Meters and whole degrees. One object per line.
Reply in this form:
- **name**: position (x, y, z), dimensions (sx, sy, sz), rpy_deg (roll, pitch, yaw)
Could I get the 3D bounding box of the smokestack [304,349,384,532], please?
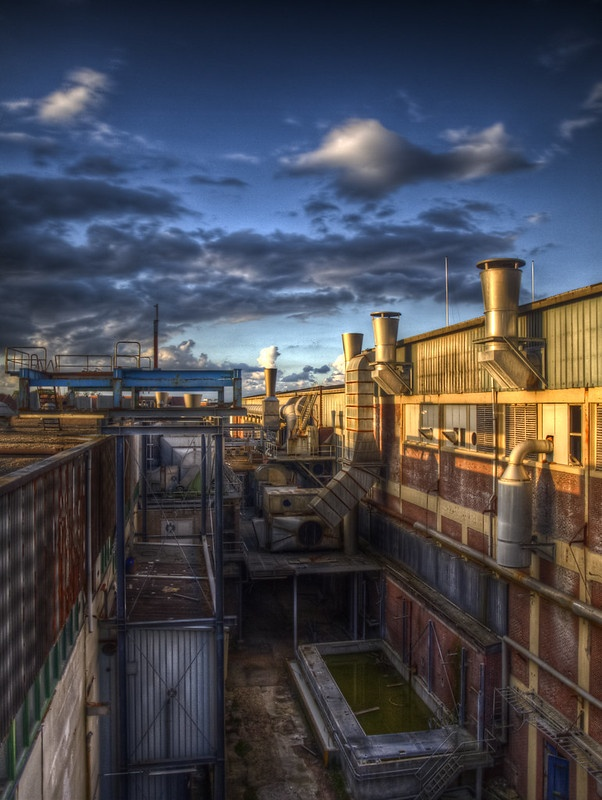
- **smokestack**: position (2.448, 1.369, 31.377), dimensions (2.985, 7.692, 2.469), rpy_deg (-8, 20, -13)
